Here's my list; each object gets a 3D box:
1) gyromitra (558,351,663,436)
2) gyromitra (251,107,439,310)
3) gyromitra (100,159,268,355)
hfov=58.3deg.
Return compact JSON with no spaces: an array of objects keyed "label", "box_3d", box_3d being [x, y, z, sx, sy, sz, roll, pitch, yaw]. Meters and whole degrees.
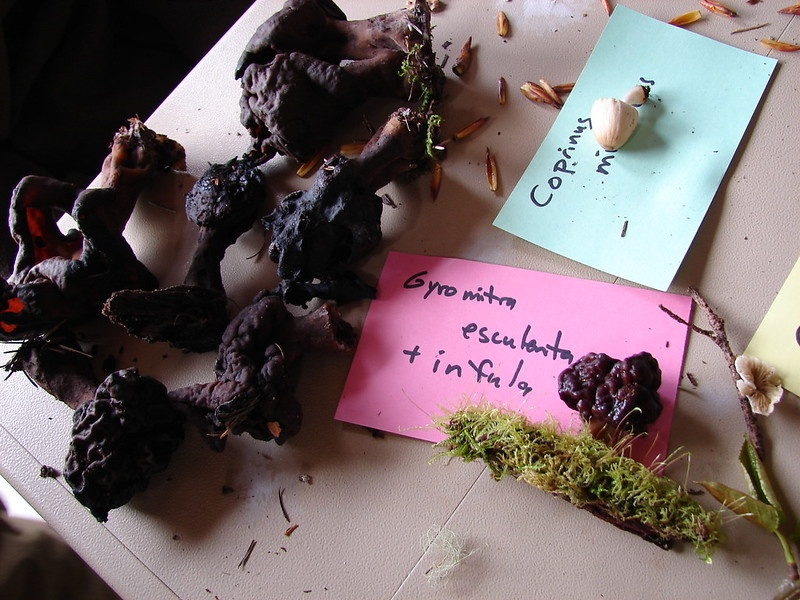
[{"label":"gyromitra","box_3d":[0.380,0.161,1.218,0.138,0.179,0.137,-12,96,-23]},{"label":"gyromitra","box_3d":[-0.060,-0.221,1.398,0.413,0.269,0.151,-40,97,12]},{"label":"gyromitra","box_3d":[-0.388,-0.105,1.352,0.235,0.115,0.426,19,76,2]}]
